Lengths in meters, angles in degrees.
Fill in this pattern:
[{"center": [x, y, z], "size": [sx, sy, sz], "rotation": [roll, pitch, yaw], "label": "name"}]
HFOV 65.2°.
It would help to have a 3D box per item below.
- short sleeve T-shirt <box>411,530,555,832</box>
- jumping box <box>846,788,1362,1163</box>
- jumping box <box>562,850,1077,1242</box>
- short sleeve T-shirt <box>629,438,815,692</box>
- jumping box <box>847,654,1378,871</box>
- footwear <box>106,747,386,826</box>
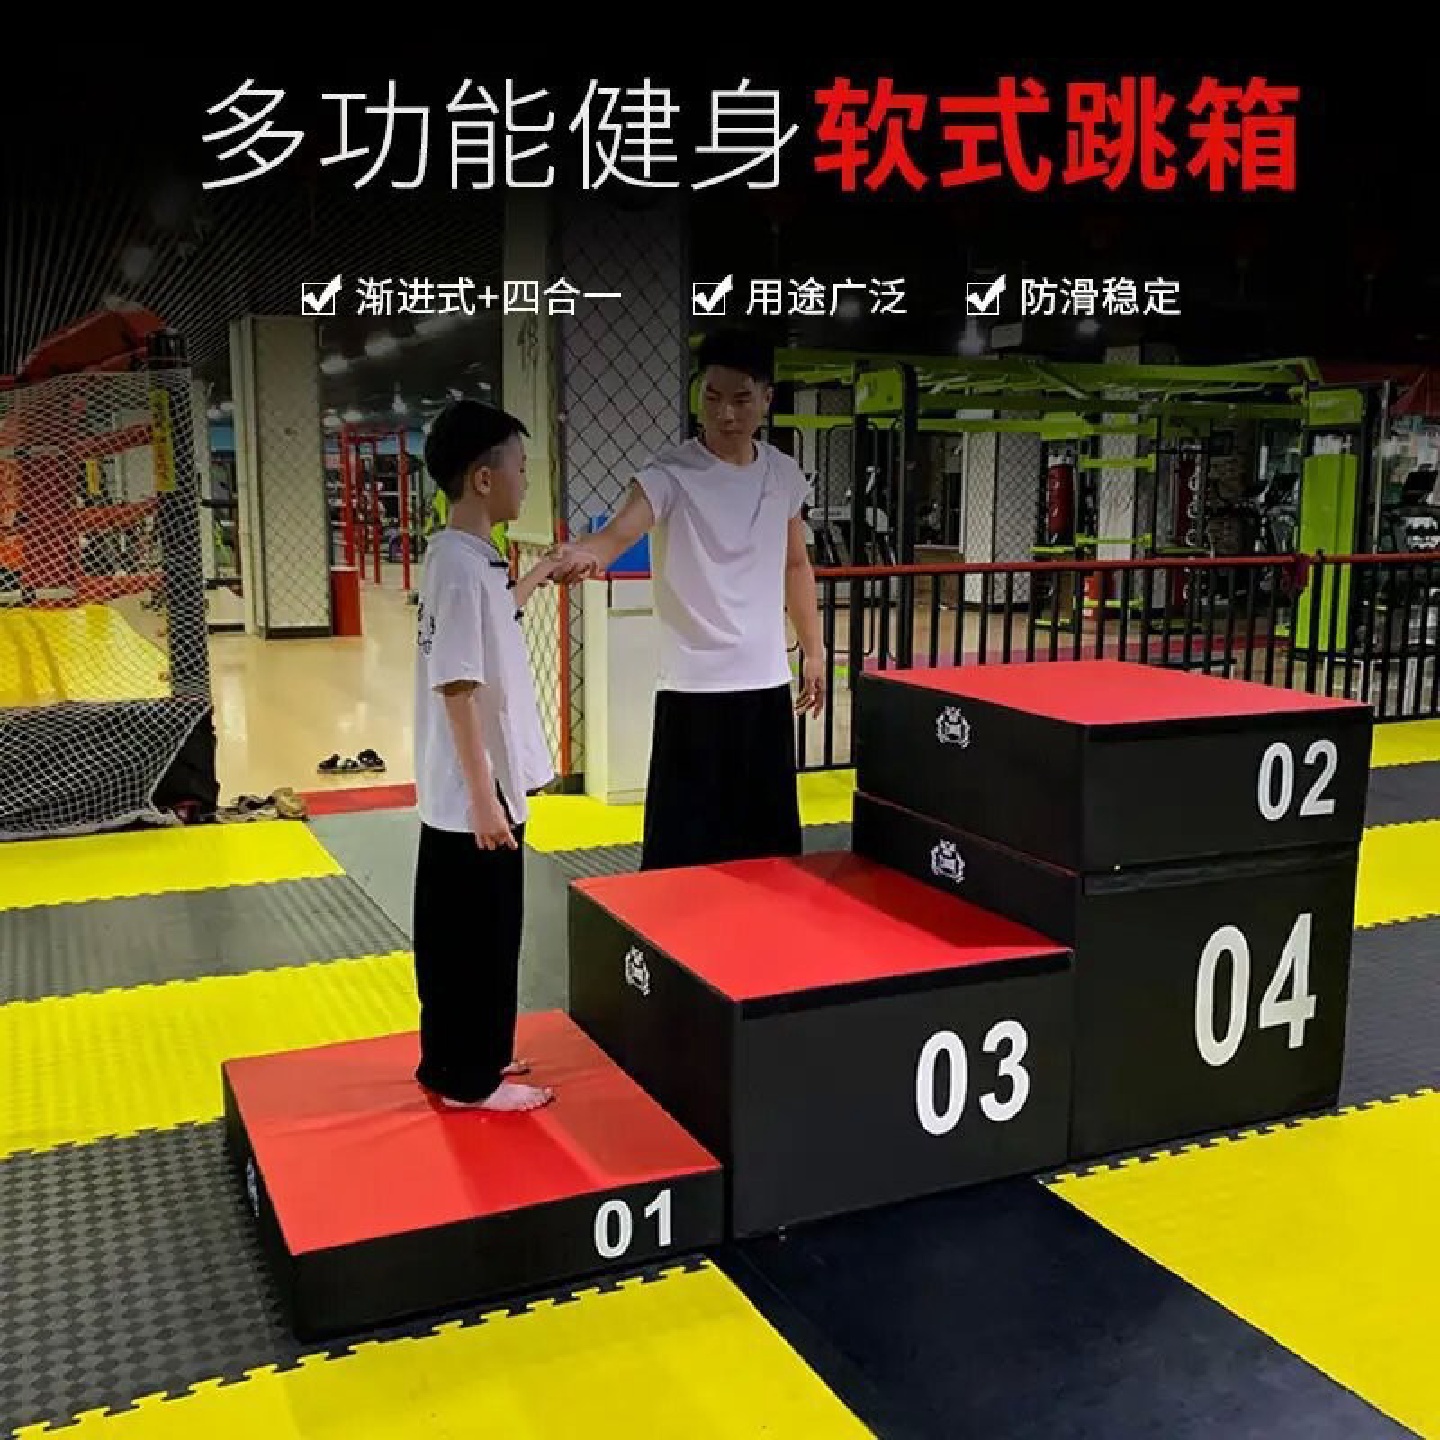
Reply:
[{"center": [-0.399, -0.064, 1.891], "size": [0.226, 0.507, 0.256], "rotation": [-2, 8, -15], "label": "short sleeve T-shirt"}, {"center": [0.824, 0.432, 2.299], "size": [0.664, 0.415, 0.666], "rotation": [-4, 12, -21], "label": "jumping box"}, {"center": [0.162, 0.578, 2.270], "size": [0.725, 0.395, 0.904], "rotation": [-2, 6, -20], "label": "jumping box"}, {"center": [0.010, -0.337, 2.483], "size": [0.407, 0.545, 0.171], "rotation": [-2, 8, -13], "label": "short sleeve T-shirt"}, {"center": [0.788, 0.064, 2.426], "size": [0.737, 0.323, 0.820], "rotation": [-3, 8, -25], "label": "jumping box"}, {"center": [-2.049, 0.272, 4.922], "size": [1.072, 0.306, 0.447], "rotation": [-4, 8, -29], "label": "footwear"}]
